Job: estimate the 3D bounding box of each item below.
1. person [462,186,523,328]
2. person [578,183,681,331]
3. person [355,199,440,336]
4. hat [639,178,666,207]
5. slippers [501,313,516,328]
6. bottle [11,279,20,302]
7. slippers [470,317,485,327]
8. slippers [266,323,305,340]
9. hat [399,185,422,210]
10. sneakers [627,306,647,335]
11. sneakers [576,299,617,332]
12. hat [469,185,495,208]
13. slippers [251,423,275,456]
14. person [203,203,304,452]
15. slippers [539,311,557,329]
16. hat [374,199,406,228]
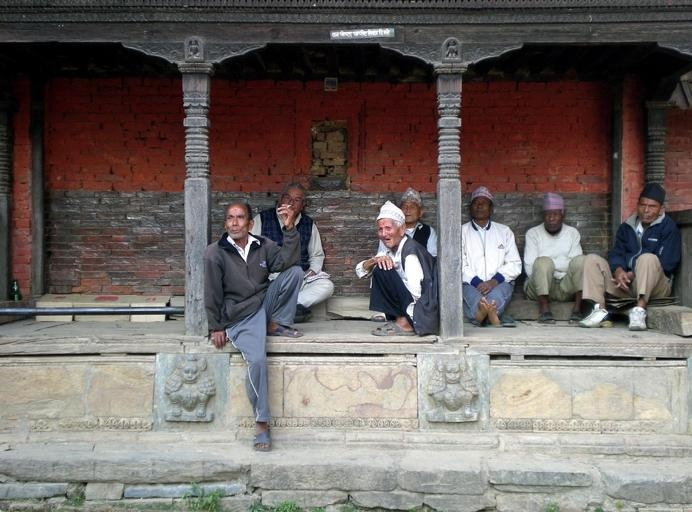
[{"bbox_3d":[1.707,-0.028,10.309,0.682,1.549,1.282,-1,4,10],"label":"person"},{"bbox_3d":[3.167,-0.007,9.752,1.060,1.575,0.681,0,5,18],"label":"person"},{"bbox_3d":[0.592,0.124,9.392,0.801,1.391,0.522,-1,4,3],"label":"person"},{"bbox_3d":[3.434,-0.688,9.872,0.307,0.239,0.309,10,12,-31],"label":"hat"},{"bbox_3d":[1.858,0.731,10.063,0.114,0.096,0.227,6,13,-33],"label":"slippers"},{"bbox_3d":[-4.026,0.405,10.724,0.098,0.245,0.143,-2,4,-6],"label":"bottle"},{"bbox_3d":[1.478,0.730,9.891,0.199,0.067,0.063,-1,-41,2],"label":"slippers"},{"bbox_3d":[-0.633,0.788,9.263,0.394,0.120,0.139,0,-1,1],"label":"slippers"},{"bbox_3d":[0.808,-0.700,10.633,0.225,0.259,0.096,1,2,9],"label":"hat"},{"bbox_3d":[3.164,0.669,9.529,0.172,0.256,0.134,-1,4,13],"label":"sneakers"},{"bbox_3d":[2.787,0.648,9.778,0.397,0.264,0.143,-2,4,-13],"label":"sneakers"},{"bbox_3d":[1.657,-0.726,10.712,0.221,0.176,0.296,0,-15,8],"label":"hat"},{"bbox_3d":[-0.843,1.796,8.913,0.192,0.282,0.265,-2,4,-5],"label":"slippers"},{"bbox_3d":[-0.941,0.685,9.158,0.685,2.444,0.787,1,5,32],"label":"person"},{"bbox_3d":[2.293,0.724,10.006,0.193,0.097,0.295,-1,1,0],"label":"slippers"},{"bbox_3d":[0.486,-0.449,9.522,0.243,0.211,0.306,1,-5,7],"label":"hat"}]
